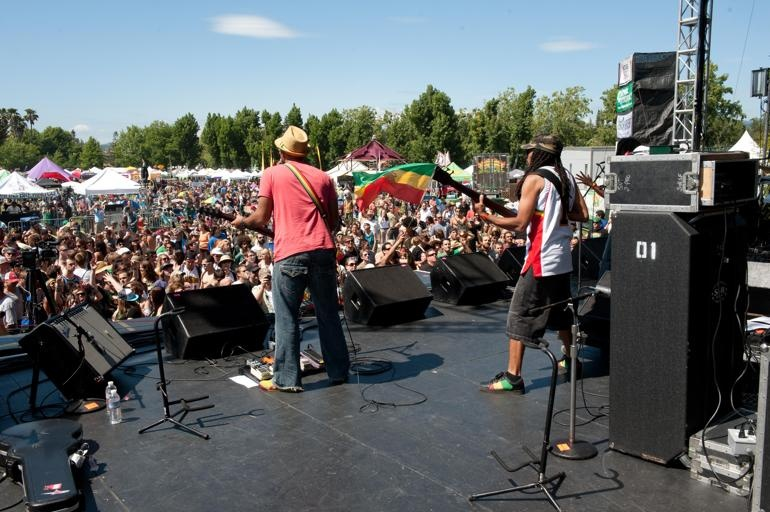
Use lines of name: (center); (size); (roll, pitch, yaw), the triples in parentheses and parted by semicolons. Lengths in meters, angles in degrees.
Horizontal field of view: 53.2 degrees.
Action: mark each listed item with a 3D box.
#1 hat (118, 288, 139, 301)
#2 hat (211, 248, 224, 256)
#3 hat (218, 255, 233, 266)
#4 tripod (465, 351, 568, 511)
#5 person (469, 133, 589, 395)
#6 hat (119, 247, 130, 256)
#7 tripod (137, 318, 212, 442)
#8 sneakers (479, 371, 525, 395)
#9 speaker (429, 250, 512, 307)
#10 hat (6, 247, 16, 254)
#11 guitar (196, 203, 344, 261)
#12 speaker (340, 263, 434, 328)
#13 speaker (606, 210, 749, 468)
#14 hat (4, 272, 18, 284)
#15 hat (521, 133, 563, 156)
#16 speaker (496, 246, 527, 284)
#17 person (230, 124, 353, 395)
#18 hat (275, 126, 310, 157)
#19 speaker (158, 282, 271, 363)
hat: (-3.227, 0.493, 9.733); (0.181, 0.059, 0.184); (26, 9, 33)
hat: (-2.731, -0.076, 12.556); (0.165, 0.065, 0.186); (2, -1, -7)
hat: (-2.315, 0.030, 11.078); (0.171, 0.056, 0.175); (-13, -15, 36)
tripod: (1.014, 1.294, 6.182); (1.018, 1.326, 1.030); (3, 0, 2)
person: (1.398, 0.080, 6.729); (0.941, 2.254, 0.676); (-7, 10, -27)
hat: (-4.434, -0.094, 13.095); (0.222, 0.075, 0.159); (3, 7, 45)
tripod: (-1.912, 1.152, 7.103); (0.625, 1.001, 0.714); (-2, 17, -8)
sneakers: (1.078, 1.139, 6.954); (0.332, 0.147, 0.170); (1, -2, 8)
speaker: (1.032, 0.194, 9.659); (0.760, 0.525, 0.700); (-5, 7, -38)
hat: (-6.354, -0.106, 13.054); (0.131, 0.074, 0.167); (3, 4, -36)
guitar: (-1.060, -0.344, 7.041); (1.181, 0.172, 0.474); (22, -8, -3)
speaker: (0.043, 0.433, 8.785); (0.813, 0.559, 0.742); (-4, 7, -33)
speaker: (2.254, 0.596, 5.910); (1.018, 1.904, 0.566); (-1, 9, 9)
hat: (-4.958, 0.280, 10.208); (0.157, 0.123, 0.239); (3, -4, -37)
hat: (1.381, -0.969, 6.713); (0.285, 0.138, 0.200); (3, 6, 18)
speaker: (1.554, 0.109, 9.357); (0.379, 0.368, 0.320); (7, 18, -34)
person: (-0.786, 0.007, 7.068); (0.866, 2.383, 0.507); (-3, 9, -8)
hat: (-0.852, -1.067, 7.055); (0.250, 0.118, 0.313); (-11, 51, -36)
speaker: (-1.696, 0.649, 7.815); (1.018, 0.711, 0.754); (-2, 3, -34)
